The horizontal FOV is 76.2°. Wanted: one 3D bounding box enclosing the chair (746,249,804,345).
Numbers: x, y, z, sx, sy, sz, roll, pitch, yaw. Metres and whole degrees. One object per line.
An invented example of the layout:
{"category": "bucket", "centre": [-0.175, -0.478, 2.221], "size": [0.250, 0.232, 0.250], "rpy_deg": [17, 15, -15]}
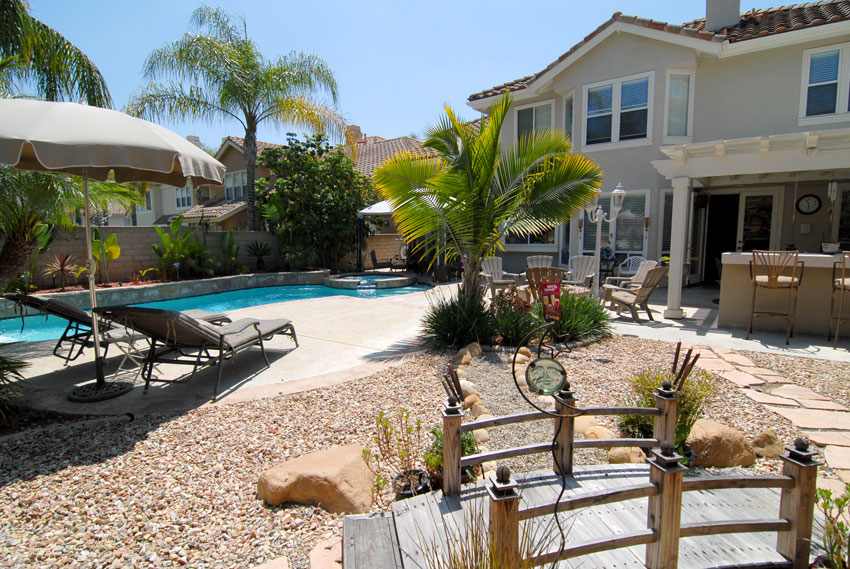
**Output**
{"category": "chair", "centre": [6.911, 0.204, 10.801], "size": [0.898, 1.725, 1.271], "rpy_deg": [3, 7, 35]}

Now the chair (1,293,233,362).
{"category": "chair", "centre": [-5.953, 0.840, 10.082], "size": [0.906, 0.806, 2.501], "rpy_deg": [9, 9, 32]}

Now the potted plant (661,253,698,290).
{"category": "potted plant", "centre": [6.752, -0.338, 14.486], "size": [0.689, 0.970, 0.844], "rpy_deg": [8, 26, 37]}

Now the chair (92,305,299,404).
{"category": "chair", "centre": [-3.568, 0.952, 8.749], "size": [1.238, 1.265, 3.347], "rpy_deg": [5, 8, 18]}

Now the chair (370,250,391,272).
{"category": "chair", "centre": [-1.922, -0.943, 22.939], "size": [0.978, 1.237, 0.881], "rpy_deg": [0, 7, 0]}
